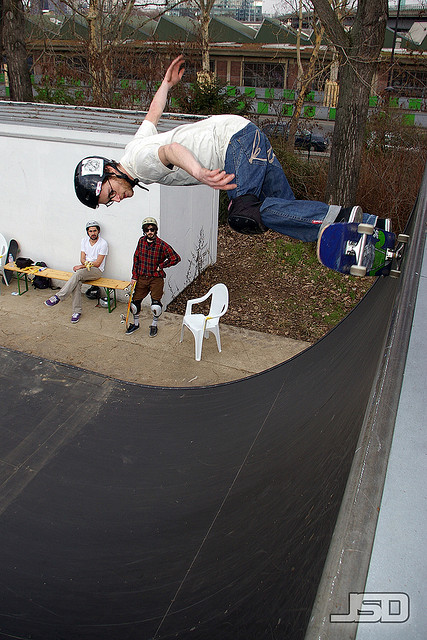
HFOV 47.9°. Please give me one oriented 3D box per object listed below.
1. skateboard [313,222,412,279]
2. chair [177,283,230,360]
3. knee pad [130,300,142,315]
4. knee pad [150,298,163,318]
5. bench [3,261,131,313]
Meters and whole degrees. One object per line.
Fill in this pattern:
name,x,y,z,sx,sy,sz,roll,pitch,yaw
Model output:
skateboard,0.820,-0.335,2.411,0.670,0.262,0.096,1,13,-38
chair,-0.108,-0.044,6.928,0.532,0.828,0.619,-13,30,-22
knee pad,-1.159,-0.188,7.216,0.145,0.224,0.127,-3,17,-15
knee pad,-0.843,-0.169,7.082,0.172,0.236,0.213,-1,-1,-3
bench,-2.507,-0.595,8.255,2.459,0.659,0.611,8,18,21
